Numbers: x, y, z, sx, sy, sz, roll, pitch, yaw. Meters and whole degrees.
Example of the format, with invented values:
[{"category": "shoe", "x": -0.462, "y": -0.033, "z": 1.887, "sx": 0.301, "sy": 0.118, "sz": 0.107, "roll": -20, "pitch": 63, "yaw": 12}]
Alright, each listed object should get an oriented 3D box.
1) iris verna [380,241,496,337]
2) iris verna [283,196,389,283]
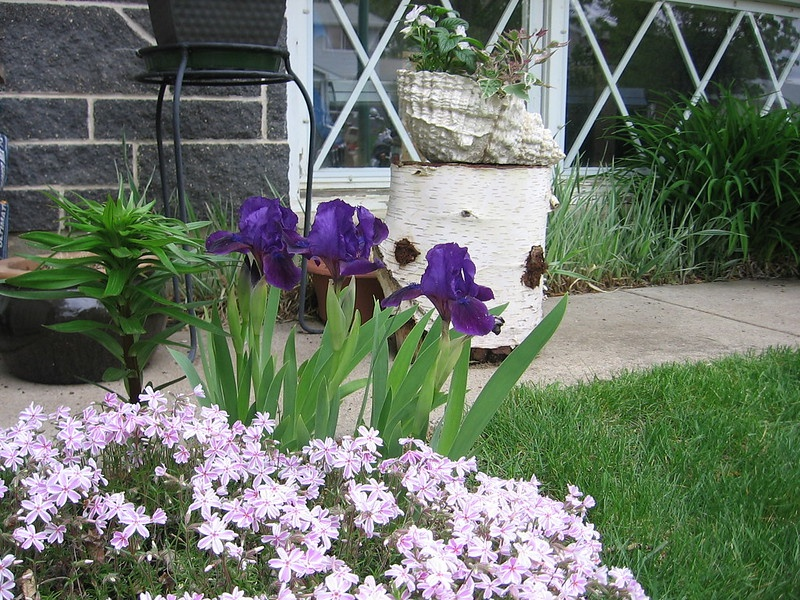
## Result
[{"category": "iris verna", "x": 0.119, "y": -0.033, "z": 1.694, "sx": 0.250, "sy": 0.219, "sz": 0.290, "roll": -1, "pitch": 6, "yaw": -33}, {"category": "iris verna", "x": -0.151, "y": -0.132, "z": 1.749, "sx": 0.187, "sy": 0.179, "sz": 0.193, "roll": 3, "pitch": 4, "yaw": -42}]
